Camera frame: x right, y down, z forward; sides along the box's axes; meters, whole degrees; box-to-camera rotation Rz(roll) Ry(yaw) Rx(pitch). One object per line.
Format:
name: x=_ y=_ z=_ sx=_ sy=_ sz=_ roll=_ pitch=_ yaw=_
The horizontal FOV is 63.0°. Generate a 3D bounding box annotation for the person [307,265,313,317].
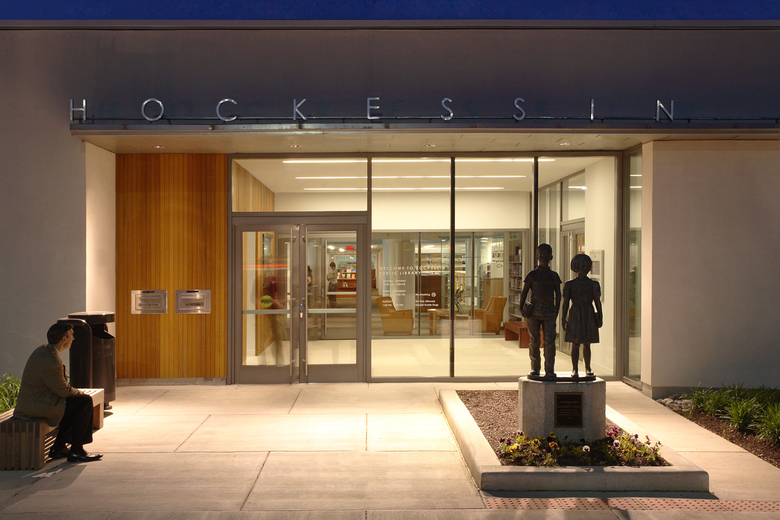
person: x=-1.580 y=0.534 z=12.638 sx=0.132 sy=0.845 sz=0.205 roll=-3 pitch=13 yaw=-7

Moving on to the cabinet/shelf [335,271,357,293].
cabinet/shelf: x=-0.888 y=0.429 z=12.701 sx=0.495 sy=0.396 sz=0.154 roll=0 pitch=-2 yaw=-4

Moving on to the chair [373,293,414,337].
chair: x=0.095 y=1.149 z=13.091 sx=0.949 sy=0.752 sz=0.652 roll=0 pitch=-1 yaw=-2

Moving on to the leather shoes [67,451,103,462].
leather shoes: x=-4.447 y=2.888 z=9.348 sx=0.462 sy=0.157 sz=0.168 roll=-2 pitch=-2 yaw=-13

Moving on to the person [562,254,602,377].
person: x=2.887 y=0.865 z=9.661 sx=0.578 sy=1.873 sz=0.772 roll=2 pitch=13 yaw=14

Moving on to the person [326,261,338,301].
person: x=-1.140 y=0.453 z=12.667 sx=0.204 sy=0.835 sz=0.191 roll=-1 pitch=13 yaw=-1

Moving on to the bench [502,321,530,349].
bench: x=2.521 y=1.413 z=12.864 sx=0.523 sy=0.548 sz=0.910 roll=1 pitch=-3 yaw=-5
